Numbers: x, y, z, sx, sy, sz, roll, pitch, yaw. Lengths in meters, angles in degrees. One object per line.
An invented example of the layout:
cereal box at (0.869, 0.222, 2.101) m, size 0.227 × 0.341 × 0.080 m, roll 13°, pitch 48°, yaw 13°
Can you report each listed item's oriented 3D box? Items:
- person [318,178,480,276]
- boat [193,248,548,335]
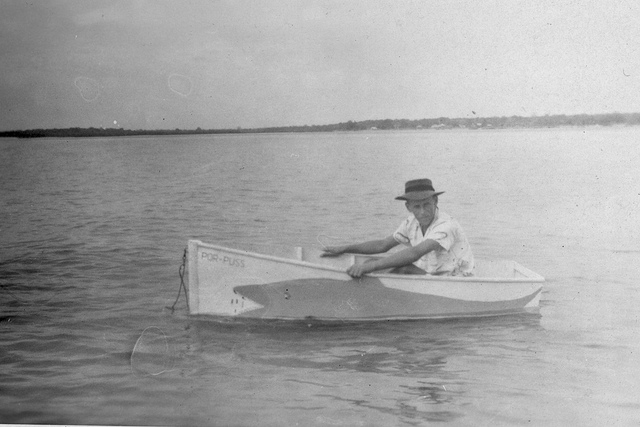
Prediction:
person at (0.922, 0.454, 8.262) m, size 1.678 × 1.506 × 1.039 m, roll -3°, pitch 7°, yaw -29°
boat at (0.361, 0.831, 8.440) m, size 4.472 × 1.033 × 1.282 m, roll 2°, pitch 1°, yaw -5°
